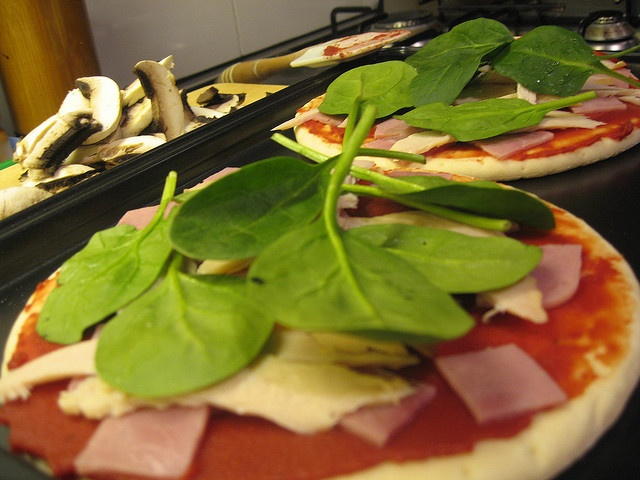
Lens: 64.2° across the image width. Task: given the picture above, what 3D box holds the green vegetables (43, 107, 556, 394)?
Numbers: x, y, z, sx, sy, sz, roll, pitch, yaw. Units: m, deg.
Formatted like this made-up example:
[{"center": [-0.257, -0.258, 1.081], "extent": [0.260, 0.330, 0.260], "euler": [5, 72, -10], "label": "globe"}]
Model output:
[{"center": [-0.028, -0.016, 0.529], "extent": [0.583, 0.235, 0.304], "euler": [-4, 32, -1], "label": "green vegetables"}]

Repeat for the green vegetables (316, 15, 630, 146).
[{"center": [0.261, -0.208, 0.957], "extent": [0.486, 0.088, 0.371], "euler": [-4, 36, 3], "label": "green vegetables"}]
